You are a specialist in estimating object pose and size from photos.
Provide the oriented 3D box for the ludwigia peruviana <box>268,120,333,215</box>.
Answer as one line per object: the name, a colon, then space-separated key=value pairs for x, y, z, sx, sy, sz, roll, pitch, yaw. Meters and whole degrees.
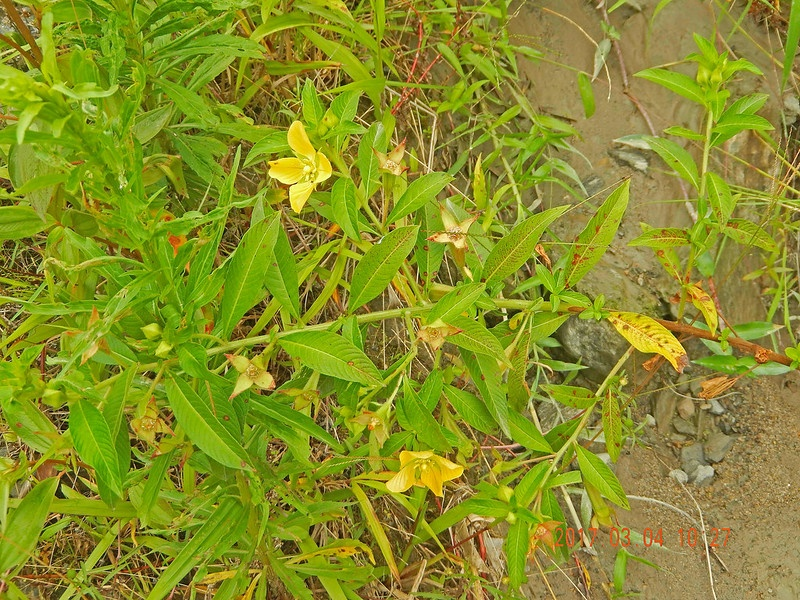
ludwigia peruviana: x=-0.305 y=-0.395 z=2.093 sx=0.166 sy=0.254 sz=0.184 roll=-26 pitch=55 yaw=-15

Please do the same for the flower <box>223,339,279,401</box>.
flower: x=-0.436 y=0.197 z=2.033 sx=0.155 sy=0.055 sz=0.159 roll=41 pitch=81 yaw=-15

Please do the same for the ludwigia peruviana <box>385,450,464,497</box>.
ludwigia peruviana: x=0.092 y=0.498 z=2.138 sx=0.162 sy=0.181 sz=0.070 roll=22 pitch=23 yaw=-11

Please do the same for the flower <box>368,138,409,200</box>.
flower: x=-0.023 y=-0.436 z=2.226 sx=0.158 sy=0.092 sz=0.179 roll=-14 pitch=87 yaw=11

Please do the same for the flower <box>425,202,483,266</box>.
flower: x=0.175 y=-0.240 z=2.301 sx=0.139 sy=0.247 sz=0.209 roll=8 pitch=54 yaw=11

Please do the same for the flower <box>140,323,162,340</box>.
flower: x=-0.740 y=0.091 z=2.039 sx=0.051 sy=0.040 sz=0.038 roll=5 pitch=88 yaw=46

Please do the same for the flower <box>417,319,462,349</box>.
flower: x=0.125 y=0.114 z=2.121 sx=0.134 sy=0.084 sz=0.092 roll=-3 pitch=53 yaw=2

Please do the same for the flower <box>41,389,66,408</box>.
flower: x=-0.967 y=0.266 z=1.924 sx=0.063 sy=0.055 sz=0.032 roll=-9 pitch=21 yaw=12
